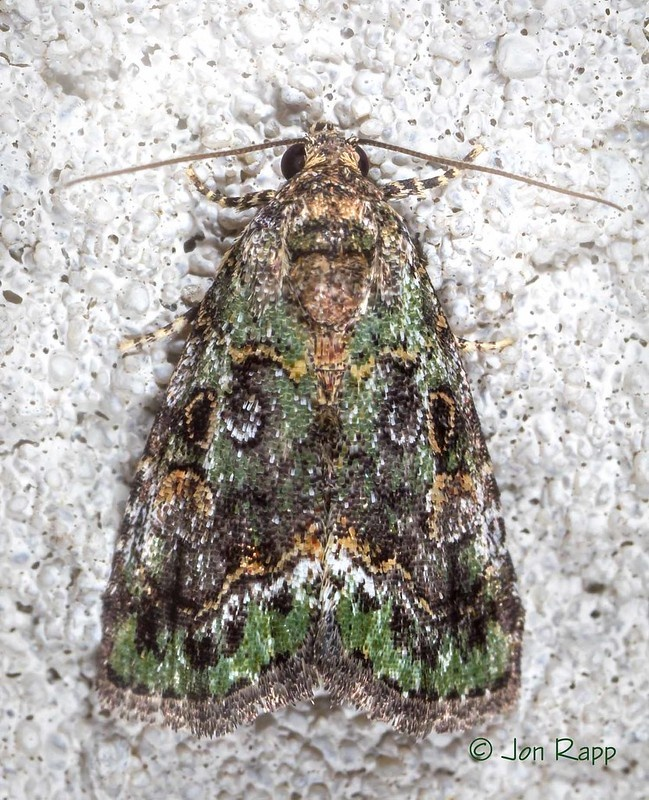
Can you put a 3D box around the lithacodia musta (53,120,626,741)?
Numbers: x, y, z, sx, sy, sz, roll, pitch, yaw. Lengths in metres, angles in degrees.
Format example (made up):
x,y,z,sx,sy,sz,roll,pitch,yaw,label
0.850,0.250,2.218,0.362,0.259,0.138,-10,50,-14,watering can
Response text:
x,y,z,sx,sy,sz,roll,pitch,yaw,label
0.007,0.051,2.247,1.251,0.272,1.265,-2,91,-1,lithacodia musta
